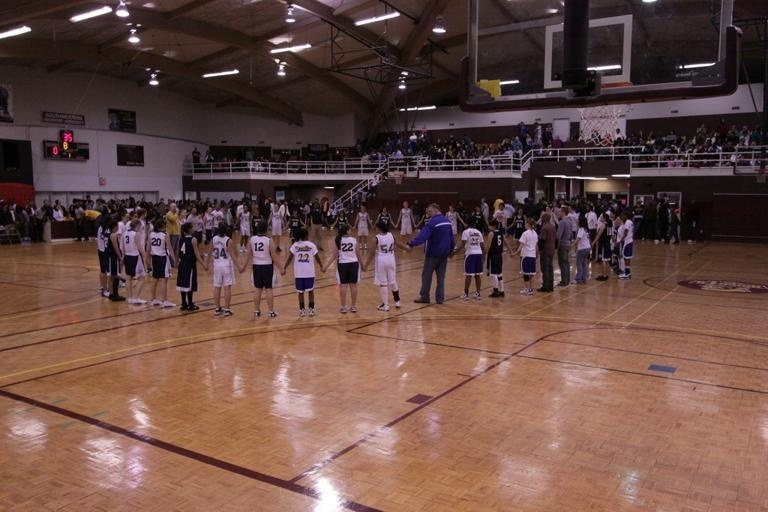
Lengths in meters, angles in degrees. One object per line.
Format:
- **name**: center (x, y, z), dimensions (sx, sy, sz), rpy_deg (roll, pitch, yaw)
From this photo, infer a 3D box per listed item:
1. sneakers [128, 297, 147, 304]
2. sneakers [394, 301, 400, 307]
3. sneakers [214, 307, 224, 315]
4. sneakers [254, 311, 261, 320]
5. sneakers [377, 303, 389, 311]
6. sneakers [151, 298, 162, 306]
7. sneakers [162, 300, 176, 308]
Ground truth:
- **sneakers**: center (-6.379, 1.161, 14.679), dimensions (0.414, 0.184, 0.217), rpy_deg (-1, 2, -14)
- **sneakers**: center (0.349, 1.208, 14.151), dimensions (0.088, 0.154, 0.150), rpy_deg (0, -8, 1)
- **sneakers**: center (-3.944, 1.289, 13.588), dimensions (0.216, 0.172, 0.206), rpy_deg (-7, 14, -27)
- **sneakers**: center (-2.983, 1.354, 13.389), dimensions (0.151, 0.142, 0.289), rpy_deg (-4, 13, -15)
- **sneakers**: center (-0.014, 1.255, 13.998), dimensions (0.124, 0.169, 0.344), rpy_deg (2, 0, -33)
- **sneakers**: center (-5.788, 1.165, 14.471), dimensions (0.361, 0.158, 0.128), rpy_deg (-5, 5, -41)
- **sneakers**: center (-5.440, 1.198, 14.285), dimensions (0.401, 0.181, 0.146), rpy_deg (-1, 8, -21)
